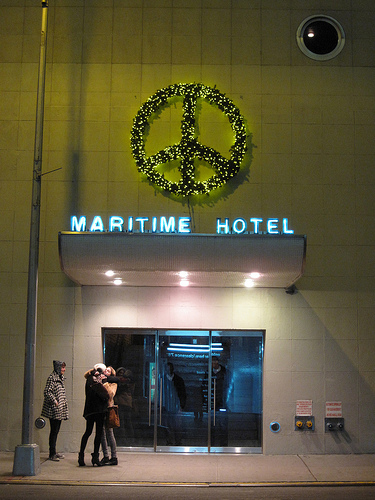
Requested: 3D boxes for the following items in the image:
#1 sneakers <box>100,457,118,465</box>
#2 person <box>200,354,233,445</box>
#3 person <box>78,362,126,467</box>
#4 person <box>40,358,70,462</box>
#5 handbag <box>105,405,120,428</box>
[{"bbox_3d":[-1.625,4.348,14.219,0.411,0.204,0.142,5,-12,-9],"label":"sneakers"},{"bbox_3d":[0.631,3.523,16.104,0.622,1.984,0.219,0,-13,9],"label":"person"},{"bbox_3d":[-1.790,3.422,14.294,0.799,2.070,1.010,4,-13,-5],"label":"person"},{"bbox_3d":[-2.780,3.389,14.520,0.495,2.049,0.725,-1,-14,12],"label":"person"},{"bbox_3d":[-1.500,3.405,14.081,0.194,0.413,0.342,-5,-15,26],"label":"handbag"}]
